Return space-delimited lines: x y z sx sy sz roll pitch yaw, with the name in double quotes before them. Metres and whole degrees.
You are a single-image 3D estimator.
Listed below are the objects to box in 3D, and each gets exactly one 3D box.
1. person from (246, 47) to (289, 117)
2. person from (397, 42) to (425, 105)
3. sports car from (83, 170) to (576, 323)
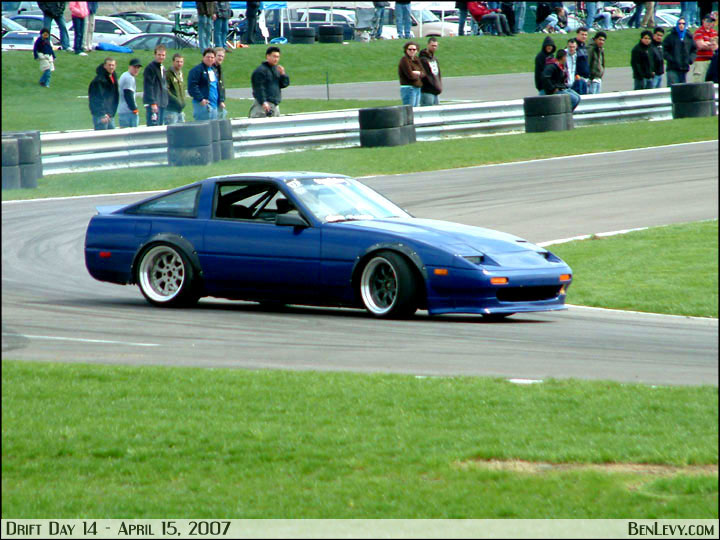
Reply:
"person" -1.625 -3.358 24.111 0.675 1.277 1.753 -1 8 -5
"person" 0.978 -3.669 25.438 0.446 1.169 1.020 0 8 5
"sports car" -0.498 -0.231 14.065 6.064 1.436 2.237 2 6 25
